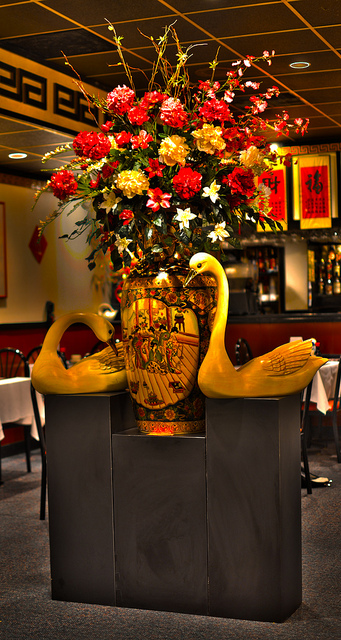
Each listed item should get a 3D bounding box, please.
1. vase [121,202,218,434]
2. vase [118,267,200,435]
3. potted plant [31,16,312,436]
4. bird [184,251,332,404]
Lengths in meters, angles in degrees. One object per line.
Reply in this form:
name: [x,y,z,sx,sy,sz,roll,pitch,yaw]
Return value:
vase: [-0.004,0.063,1.581,0.309,0.623,0.306,-1,-11,-5]
vase: [-0.024,0.105,1.555,0.231,0.530,0.275,-2,-11,2]
potted plant: [0.004,-0.254,1.580,0.632,1.108,0.627,6,2,-18]
bird: [0.244,0.039,1.518,0.463,0.447,0.158,2,-12,-20]
